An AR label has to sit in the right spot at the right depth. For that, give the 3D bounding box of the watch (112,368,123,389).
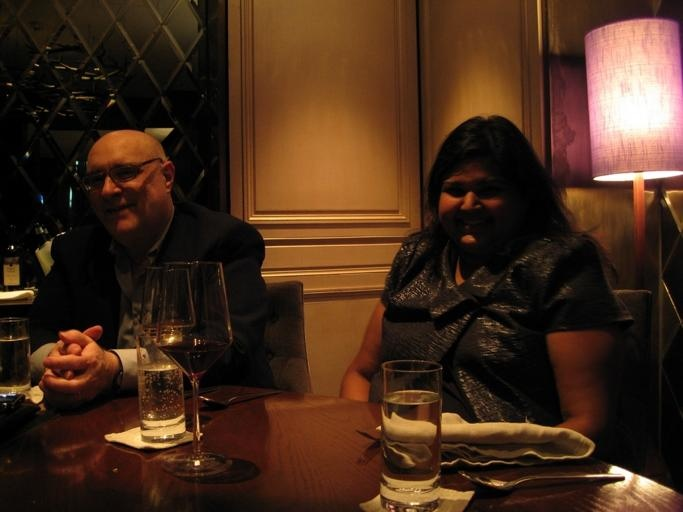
[{"bbox_3d":[-0.573,0.310,1.523,0.029,0.052,0.020,-7,12,-30],"label":"watch"}]

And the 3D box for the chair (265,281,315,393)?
[{"bbox_3d":[-0.195,0.272,2.087,0.139,0.320,0.306,-2,10,-8],"label":"chair"}]

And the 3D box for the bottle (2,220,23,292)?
[{"bbox_3d":[-1.770,0.003,3.181,0.105,0.331,0.143,-6,12,-25],"label":"bottle"}]

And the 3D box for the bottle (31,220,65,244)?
[{"bbox_3d":[-1.551,-0.130,3.119,0.212,0.049,0.049,38,4,-44],"label":"bottle"}]

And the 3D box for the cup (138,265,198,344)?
[{"bbox_3d":[-0.344,0.098,1.165,0.086,0.179,0.159,-6,12,-26],"label":"cup"}]
